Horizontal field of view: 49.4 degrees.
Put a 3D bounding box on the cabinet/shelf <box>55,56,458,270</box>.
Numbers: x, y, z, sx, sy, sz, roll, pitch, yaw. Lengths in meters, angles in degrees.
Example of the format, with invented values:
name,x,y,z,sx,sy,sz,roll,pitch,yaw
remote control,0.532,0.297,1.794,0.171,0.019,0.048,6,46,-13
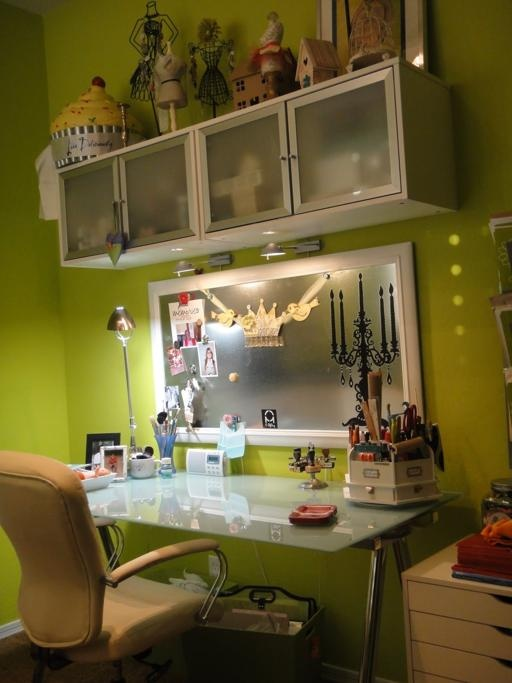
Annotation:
name,x,y,z,sx,sy,sz,roll,pitch,yaw
cabinet/shelf,-0.098,-0.578,1.987,1.460,0.591,0.324,-8,-2,35

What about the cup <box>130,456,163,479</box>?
name,x,y,z,sx,sy,sz,roll,pitch,yaw
cup,-0.490,0.568,2.484,0.085,0.071,0.115,-6,-10,37

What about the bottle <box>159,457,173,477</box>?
name,x,y,z,sx,sy,sz,roll,pitch,yaw
bottle,-0.390,0.552,2.414,0.075,0.072,0.057,-2,-3,23

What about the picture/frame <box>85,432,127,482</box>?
name,x,y,z,sx,sy,sz,roll,pitch,yaw
picture/frame,-0.677,0.529,2.504,0.170,0.180,0.014,-2,-3,30

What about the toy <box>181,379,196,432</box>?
name,x,y,z,sx,sy,sz,roll,pitch,yaw
toy,-0.313,0.299,2.550,0.031,0.202,0.081,-6,-2,-37
